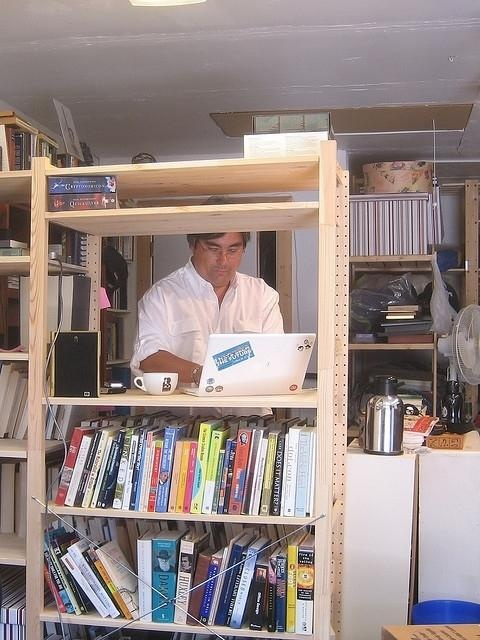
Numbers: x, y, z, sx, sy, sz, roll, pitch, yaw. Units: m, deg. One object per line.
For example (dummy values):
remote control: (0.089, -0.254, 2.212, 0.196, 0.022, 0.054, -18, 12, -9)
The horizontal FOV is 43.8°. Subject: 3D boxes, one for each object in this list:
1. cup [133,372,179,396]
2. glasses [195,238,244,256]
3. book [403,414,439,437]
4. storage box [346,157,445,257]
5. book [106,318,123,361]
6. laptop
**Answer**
cup: (-0.247, 0.180, 1.691, 0.099, 0.043, 0.077, -3, -4, 0)
glasses: (-0.098, -0.327, 2.751, 0.113, 0.035, 0.113, 2, -10, -18)
book: (0.602, 0.354, 2.005, 0.079, 0.020, 0.083, -3, 21, 35)
storage box: (0.939, -0.682, 3.851, 0.617, 0.568, 0.604, -1, -2, 3)
book: (-0.869, 0.138, 4.112, 0.169, 0.308, 0.300, 1, 0, -6)
laptop: (0.035, 0.122, 1.572, 0.235, 0.136, 0.204, 2, -1, -17)
